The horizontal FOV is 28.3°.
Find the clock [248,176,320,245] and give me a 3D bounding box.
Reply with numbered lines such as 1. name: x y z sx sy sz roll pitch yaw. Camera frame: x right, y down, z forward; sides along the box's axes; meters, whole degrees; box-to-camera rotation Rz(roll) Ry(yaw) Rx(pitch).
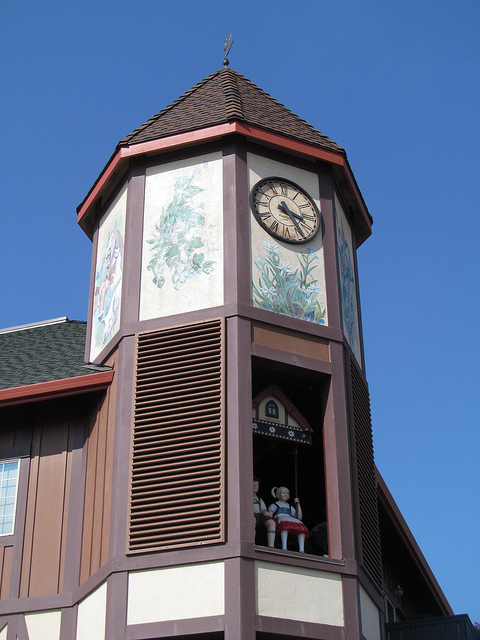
1. clock: 0.670 -1.597 13.896 1.057 0.091 1.252 17 -36 18
